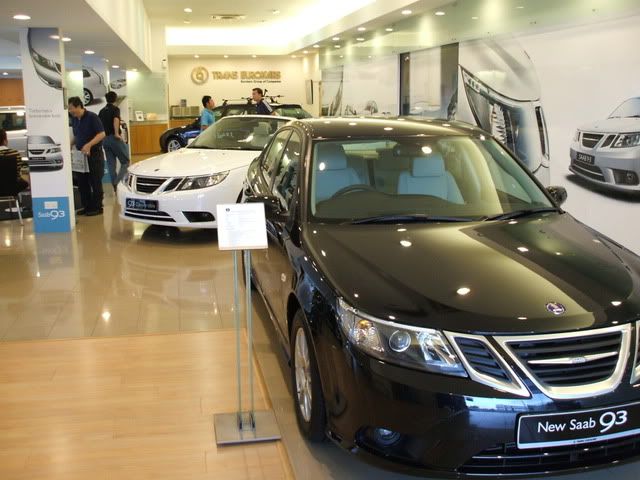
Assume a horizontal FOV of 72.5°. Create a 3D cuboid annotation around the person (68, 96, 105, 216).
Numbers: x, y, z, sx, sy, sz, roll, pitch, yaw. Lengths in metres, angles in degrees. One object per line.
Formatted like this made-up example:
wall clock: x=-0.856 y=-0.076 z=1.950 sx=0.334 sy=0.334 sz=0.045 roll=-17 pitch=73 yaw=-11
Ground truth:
person: x=-4.228 y=-1.488 z=7.940 sx=0.699 sy=2.066 sz=0.499 roll=10 pitch=18 yaw=35
